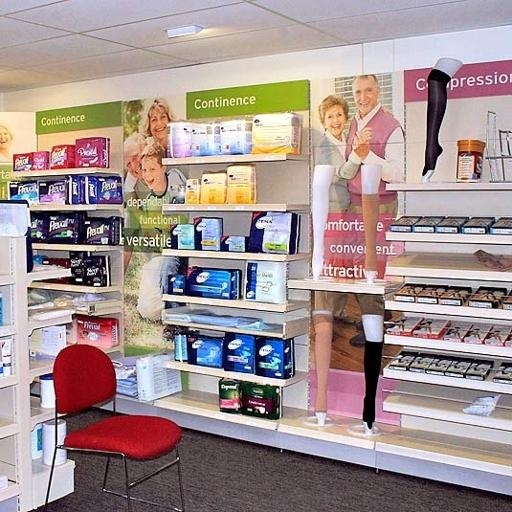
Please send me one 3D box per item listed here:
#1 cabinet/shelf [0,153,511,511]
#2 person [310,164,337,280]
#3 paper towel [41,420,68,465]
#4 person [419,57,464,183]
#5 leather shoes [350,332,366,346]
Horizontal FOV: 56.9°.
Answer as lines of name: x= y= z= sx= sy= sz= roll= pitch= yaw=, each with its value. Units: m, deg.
cabinet/shelf: x=0.095 y=0.560 z=3.288 sx=2.972 sy=1.156 sz=0.542 roll=2 pitch=3 yaw=29
person: x=0.447 y=-0.230 z=3.248 sx=0.134 sy=0.758 sz=0.270 roll=-1 pitch=0 yaw=-9
paper towel: x=-1.247 y=1.148 z=2.944 sx=0.159 sy=0.230 sz=0.149 roll=1 pitch=-23 yaw=-27
person: x=1.138 y=-0.841 z=2.941 sx=0.191 sy=0.724 sz=0.278 roll=-1 pitch=0 yaw=-2
leather shoes: x=0.741 y=0.608 z=3.515 sx=0.143 sy=0.113 sz=0.067 roll=5 pitch=8 yaw=11
